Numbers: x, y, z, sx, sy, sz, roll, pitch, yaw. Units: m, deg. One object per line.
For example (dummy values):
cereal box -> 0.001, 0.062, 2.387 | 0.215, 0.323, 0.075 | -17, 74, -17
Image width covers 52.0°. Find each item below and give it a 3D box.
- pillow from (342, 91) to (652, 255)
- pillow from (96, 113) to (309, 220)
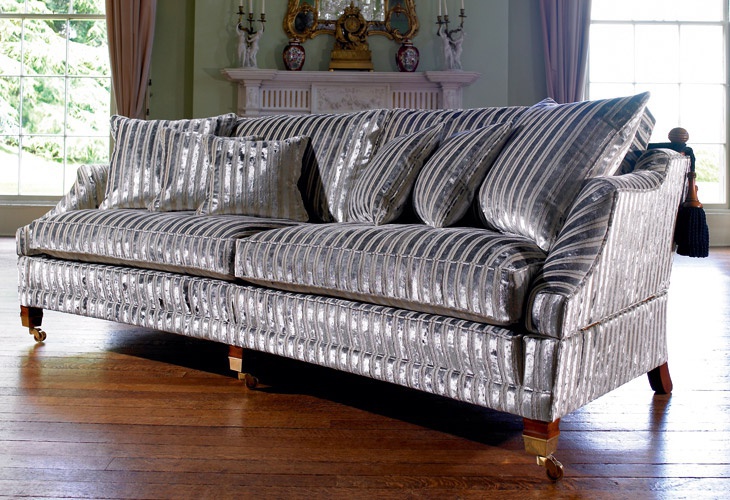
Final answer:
pillow -> 0.771, -0.329, 2.998 | 0.465, 0.598, 0.423 | -5, 13, -33
pillow -> -0.798, -0.383, 3.739 | 1.003, 0.531, 0.254 | 6, -9, 20
